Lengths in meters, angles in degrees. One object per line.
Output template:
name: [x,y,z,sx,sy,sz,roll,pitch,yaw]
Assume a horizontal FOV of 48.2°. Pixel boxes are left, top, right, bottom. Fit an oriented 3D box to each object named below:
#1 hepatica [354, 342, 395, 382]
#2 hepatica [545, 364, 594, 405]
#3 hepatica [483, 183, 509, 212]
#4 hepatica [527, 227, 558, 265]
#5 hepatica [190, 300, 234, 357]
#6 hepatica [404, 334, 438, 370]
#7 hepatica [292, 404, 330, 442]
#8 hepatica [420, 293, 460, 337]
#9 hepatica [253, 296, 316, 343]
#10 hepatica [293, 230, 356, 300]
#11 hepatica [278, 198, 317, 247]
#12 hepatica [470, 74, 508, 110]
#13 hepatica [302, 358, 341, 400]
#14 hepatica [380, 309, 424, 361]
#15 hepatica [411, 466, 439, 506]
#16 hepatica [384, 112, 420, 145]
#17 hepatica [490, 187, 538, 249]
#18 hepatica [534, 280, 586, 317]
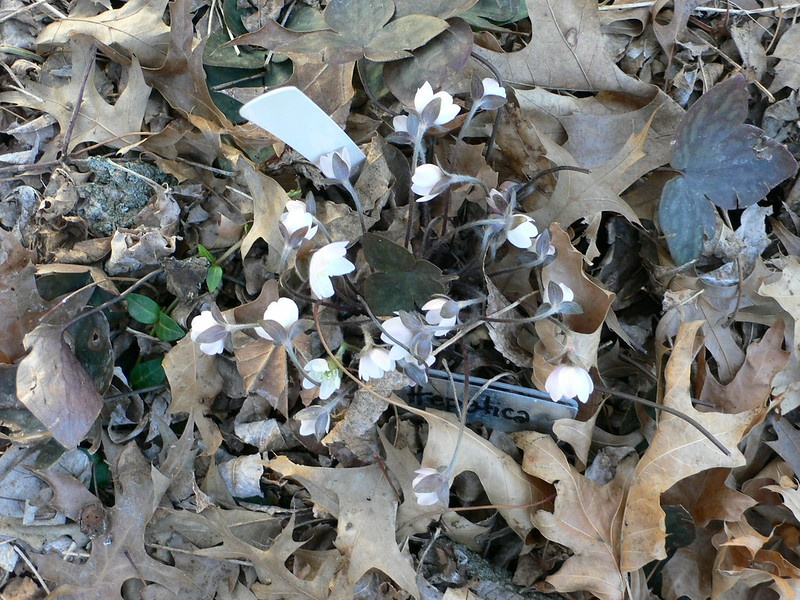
hepatica: [-0.045,0.109,1.531,0.049,0.026,0.061,10,107,-2]
hepatica: [0.288,0.142,1.523,0.079,0.037,0.060,10,73,6]
hepatica: [0.172,-0.184,1.562,0.033,0.027,0.043,-17,24,8]
hepatica: [0.241,-0.094,1.548,0.017,0.063,0.049,-20,29,-30]
hepatica: [-0.331,0.063,1.543,0.043,0.075,0.082,3,83,51]
hepatica: [0.039,0.082,1.518,0.047,0.020,0.053,37,98,-8]
hepatica: [-0.154,0.211,1.582,0.054,0.064,0.055,12,72,8]
hepatica: [0.068,0.023,1.495,0.056,0.029,0.064,25,94,-1]
hepatica: [-0.200,0.020,1.517,0.055,0.031,0.053,17,74,9]
hepatica: [-0.120,-0.050,1.522,0.083,0.073,0.078,-22,71,-4]
hepatica: [-0.175,-0.131,1.528,0.039,0.076,0.060,-39,42,-16]
hepatica: [0.151,-0.361,1.558,0.056,0.075,0.055,-8,70,1]
hepatica: [-0.136,0.131,1.550,0.064,0.064,0.032,-38,30,13]
hepatica: [0.007,0.058,1.529,0.069,0.033,0.079,-28,90,31]
hepatica: [0.037,0.322,1.546,0.024,0.056,0.061,-12,37,-1]
hepatica: [0.008,-0.293,1.538,0.046,0.026,0.060,1,78,33]
hepatica: [0.193,-0.158,1.578,0.069,0.039,0.119,-43,50,32]
hepatica: [0.266,0.003,1.528,0.078,0.078,0.050,-7,70,1]
